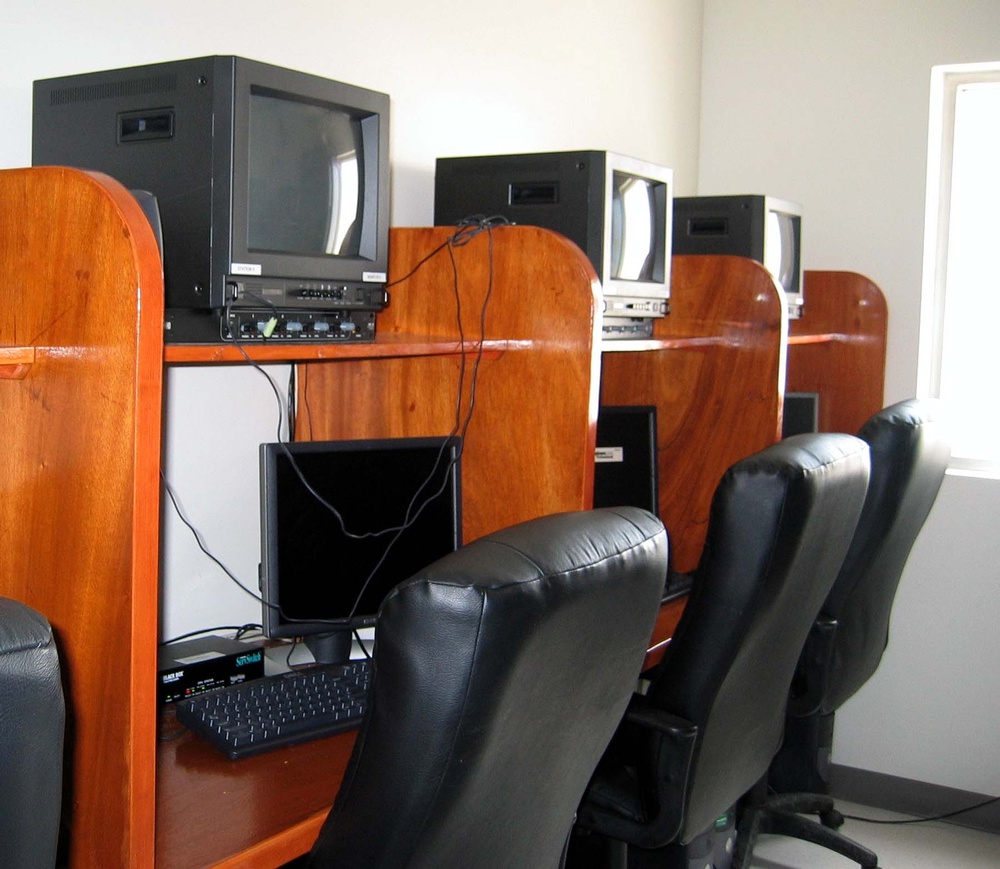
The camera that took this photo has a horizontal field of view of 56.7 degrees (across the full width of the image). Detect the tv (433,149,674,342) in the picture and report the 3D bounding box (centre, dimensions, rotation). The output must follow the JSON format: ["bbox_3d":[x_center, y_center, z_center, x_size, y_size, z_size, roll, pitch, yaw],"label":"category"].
[{"bbox_3d":[0.169,-0.428,2.135,0.363,0.401,0.372,6,13,43],"label":"tv"}]

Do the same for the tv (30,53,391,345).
[{"bbox_3d":[-0.426,-0.379,1.595,0.448,0.412,0.468,-2,9,-23],"label":"tv"}]

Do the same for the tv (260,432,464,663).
[{"bbox_3d":[-0.253,0.191,1.587,0.344,0.346,0.036,0,-2,-41],"label":"tv"}]

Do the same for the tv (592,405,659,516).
[{"bbox_3d":[0.335,0.056,2.447,0.210,0.283,0.057,-1,4,-35],"label":"tv"}]
